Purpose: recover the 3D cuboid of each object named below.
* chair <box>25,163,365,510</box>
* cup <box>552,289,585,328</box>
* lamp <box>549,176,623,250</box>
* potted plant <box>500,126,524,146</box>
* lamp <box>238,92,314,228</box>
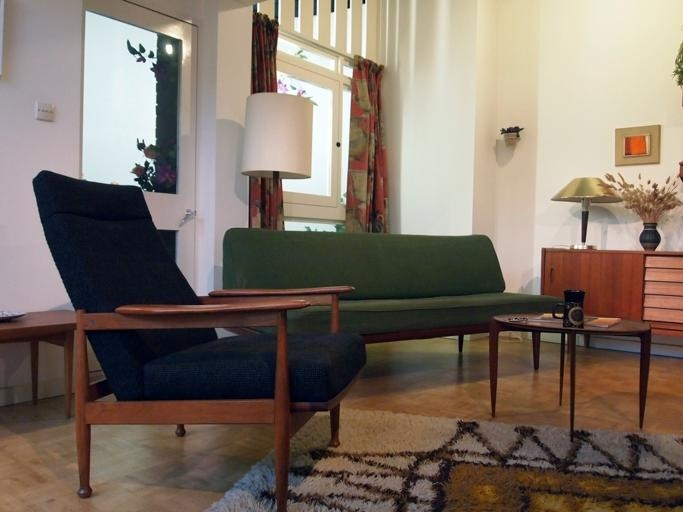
[{"bbox_3d":[-0.661,0.312,2.734,1.400,1.383,0.777,2,9,17],"label":"chair"},{"bbox_3d":[1.207,0.264,3.179,0.134,0.184,0.234,2,9,18],"label":"cup"},{"bbox_3d":[2.044,-0.346,5.244,0.541,0.593,0.603,0,-5,6],"label":"lamp"},{"bbox_3d":[1.619,-1.146,5.748,0.216,0.181,0.172,2,9,15],"label":"potted plant"},{"bbox_3d":[-0.427,-0.786,4.300,0.536,0.975,0.565,1,-5,4],"label":"lamp"}]
